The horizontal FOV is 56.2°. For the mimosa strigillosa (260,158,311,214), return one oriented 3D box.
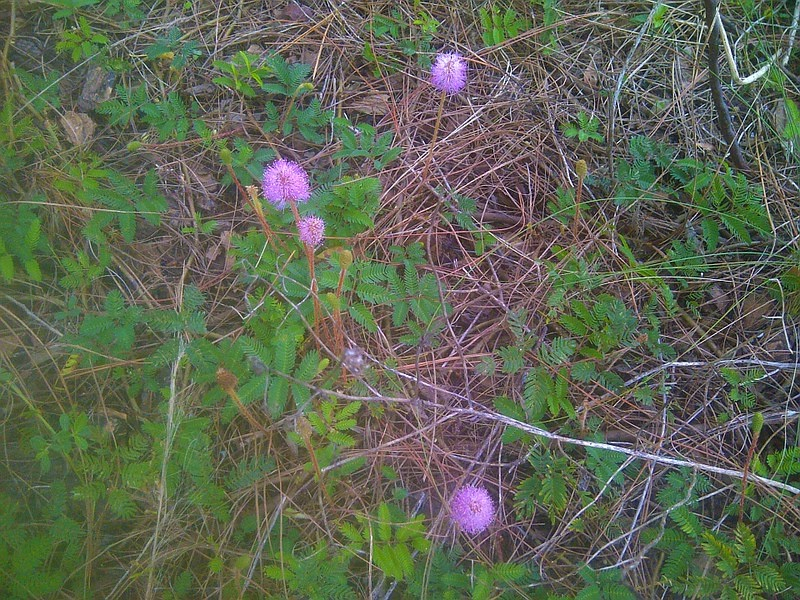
[{"bbox_3d":[-0.771,-0.746,4.979,0.282,0.307,0.309,-23,69,-10],"label":"mimosa strigillosa"}]

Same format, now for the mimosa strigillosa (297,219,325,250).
[{"bbox_3d":[-0.542,-0.428,4.591,0.154,0.146,0.158,-22,59,-14],"label":"mimosa strigillosa"}]
